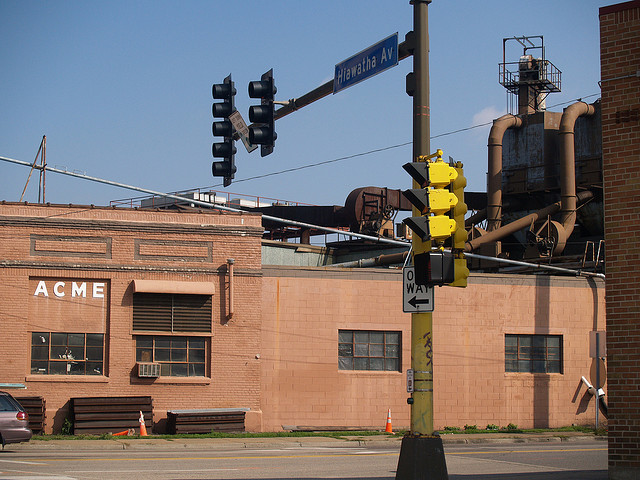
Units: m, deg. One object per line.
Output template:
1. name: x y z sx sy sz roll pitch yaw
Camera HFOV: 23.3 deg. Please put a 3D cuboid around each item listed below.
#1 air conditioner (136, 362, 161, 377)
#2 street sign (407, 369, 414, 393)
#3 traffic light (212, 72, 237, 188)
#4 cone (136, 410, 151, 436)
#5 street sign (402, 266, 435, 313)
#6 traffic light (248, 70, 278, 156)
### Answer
1. air conditioner: -6.697 4.877 59.853 0.962 0.595 0.536 4 -5 -25
2. street sign: 2.659 4.186 46.242 0.178 0.674 0.412 -1 -10 -1
3. traffic light: -3.119 -3.509 50.213 0.727 3.503 1.036 0 -10 -5
4. cone: -6.654 6.914 58.671 0.389 0.957 0.939 0 -10 -5
5. street sign: 2.911 1.466 46.319 1.443 1.939 0.215 -3 -7 40
6. traffic light: -1.879 -4.102 49.763 0.843 2.668 0.767 -1 -10 -2
